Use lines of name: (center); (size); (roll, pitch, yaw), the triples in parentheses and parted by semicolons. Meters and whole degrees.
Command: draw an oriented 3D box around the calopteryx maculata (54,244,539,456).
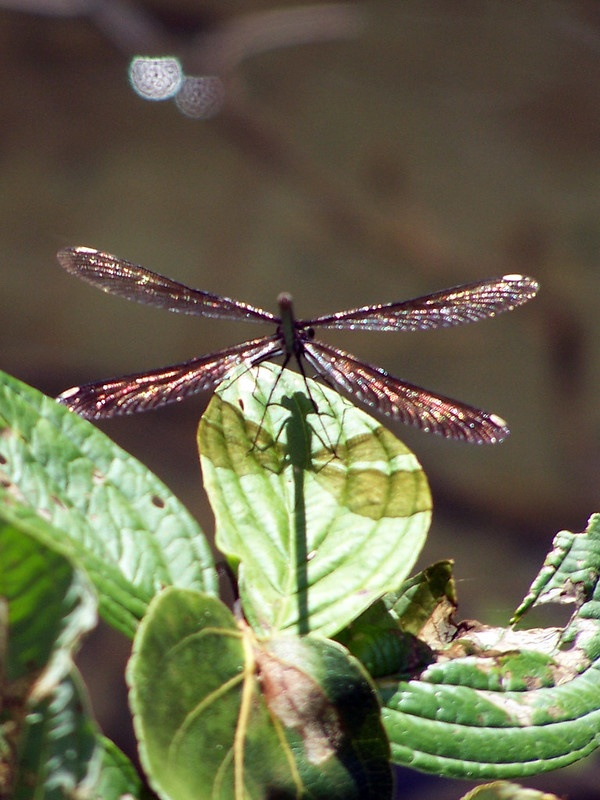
calopteryx maculata: (-0.012, -0.041, 1.379); (0.610, 0.210, 0.212); (2, -1, -3)
